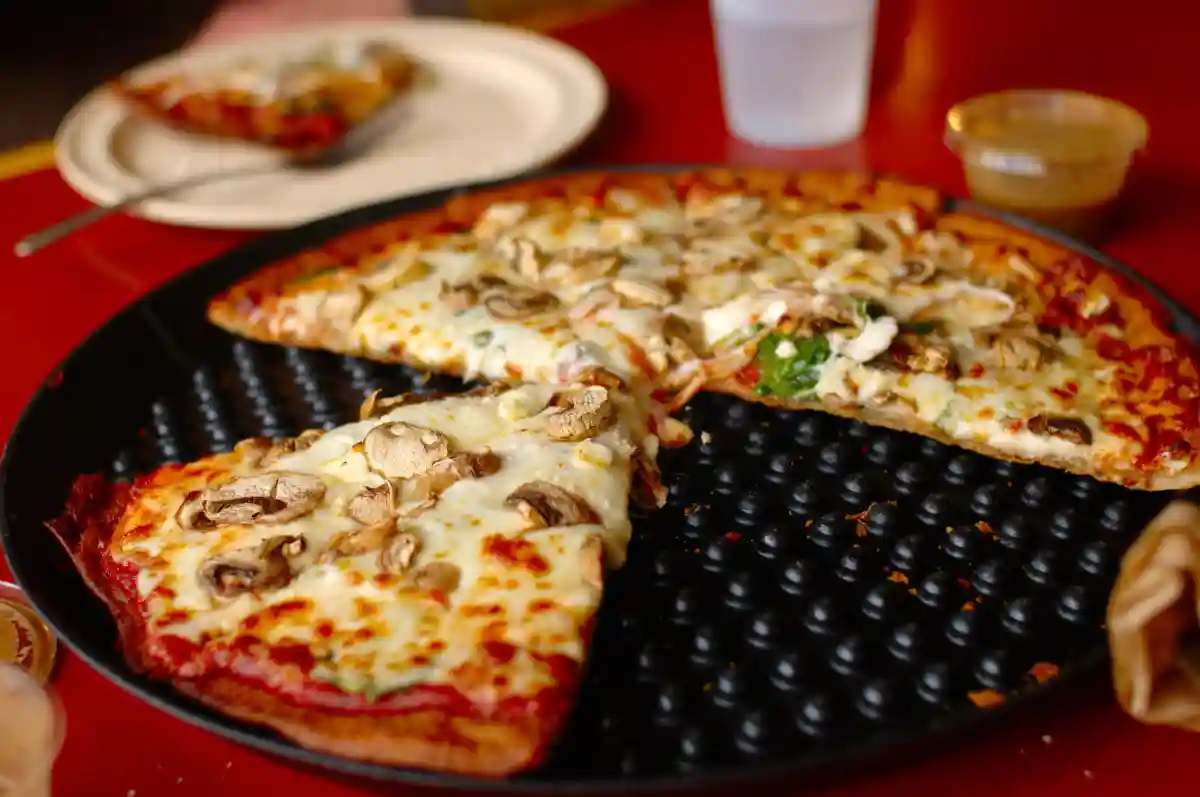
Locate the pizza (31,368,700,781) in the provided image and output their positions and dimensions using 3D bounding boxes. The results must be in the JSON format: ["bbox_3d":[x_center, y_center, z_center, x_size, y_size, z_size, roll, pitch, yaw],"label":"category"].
[{"bbox_3d":[-0.393,0.195,1.713,0.921,0.176,0.739,12,58,13],"label":"pizza"}]

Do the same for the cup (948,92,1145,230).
[{"bbox_3d":[0.924,-0.524,2.255,0.358,0.206,0.340,-5,34,3],"label":"cup"}]

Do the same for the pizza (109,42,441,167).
[{"bbox_3d":[-0.781,-0.805,2.604,0.542,0.104,0.358,-22,31,-31],"label":"pizza"}]
